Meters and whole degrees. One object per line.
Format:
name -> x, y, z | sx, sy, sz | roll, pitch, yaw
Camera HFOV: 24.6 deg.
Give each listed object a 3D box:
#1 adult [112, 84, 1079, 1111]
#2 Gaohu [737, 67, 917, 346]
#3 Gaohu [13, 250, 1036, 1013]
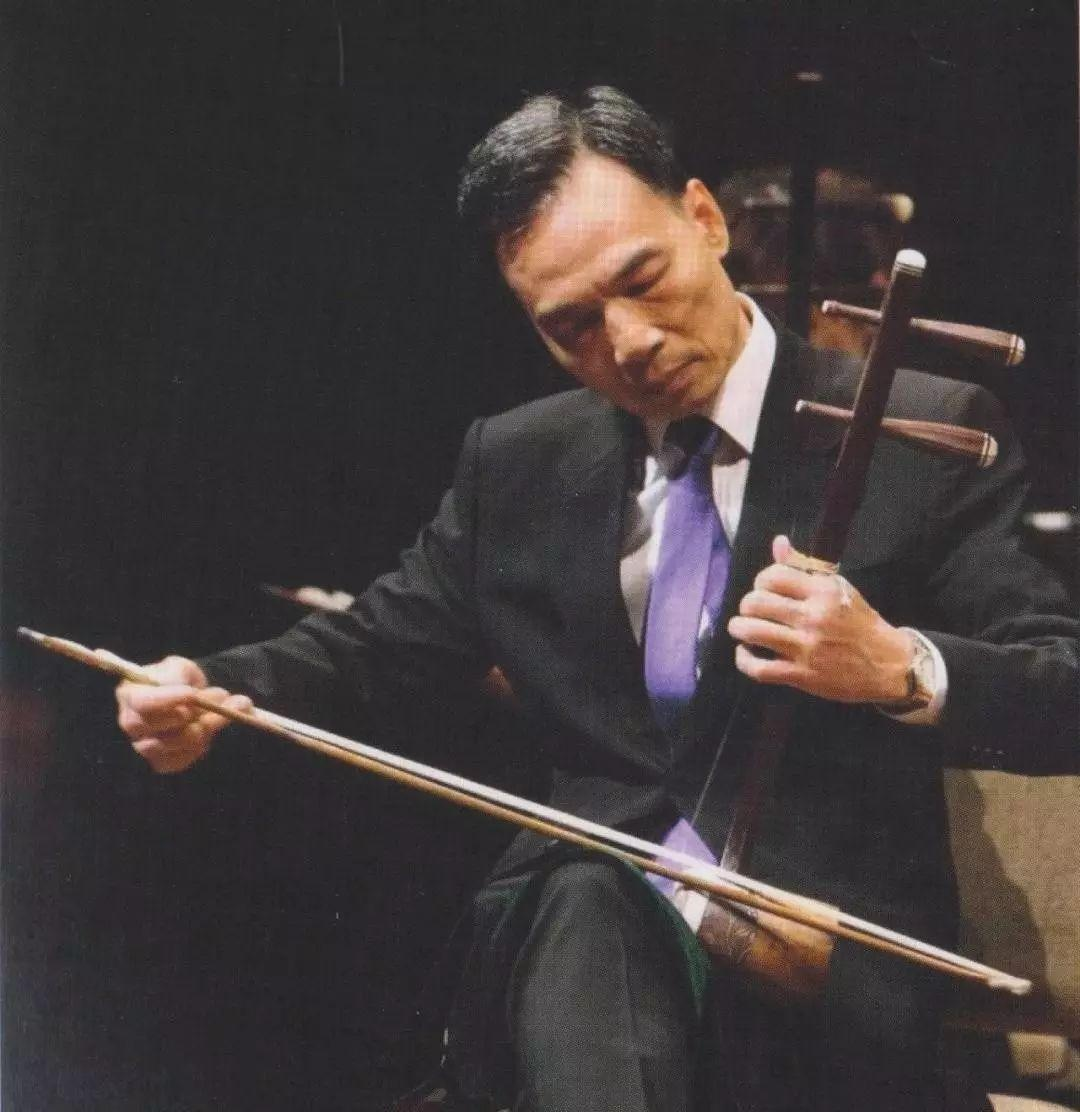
adult -> 0.143, 0.071, 3.500 | 0.955, 0.761, 1.459 | -11, 66, 24
Gaohu -> 0.405, -0.469, 3.488 | 0.250, 0.106, 0.368 | -1, 92, 6
Gaohu -> 0.061, 0.289, 3.551 | 1.311, 0.052, 0.739 | 18, 95, 8
